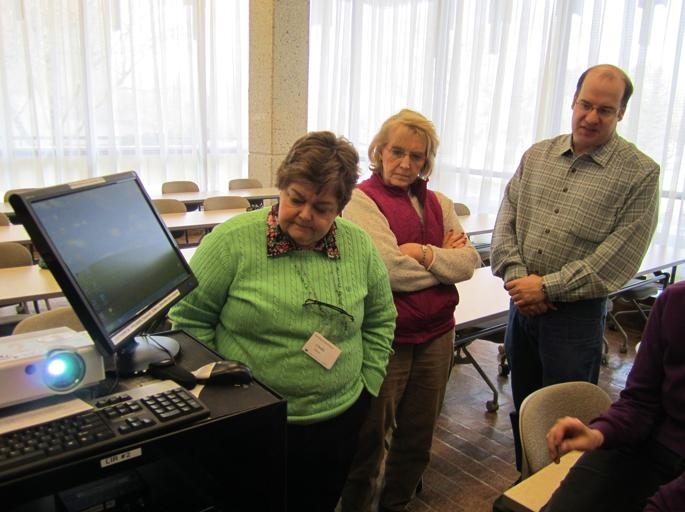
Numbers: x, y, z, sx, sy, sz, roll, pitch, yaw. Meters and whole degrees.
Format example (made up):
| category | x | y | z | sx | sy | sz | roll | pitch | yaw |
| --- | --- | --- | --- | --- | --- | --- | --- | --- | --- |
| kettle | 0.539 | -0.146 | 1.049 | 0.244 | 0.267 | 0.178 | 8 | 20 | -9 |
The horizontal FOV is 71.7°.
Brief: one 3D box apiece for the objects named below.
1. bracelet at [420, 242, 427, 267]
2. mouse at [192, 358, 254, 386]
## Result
| category | x | y | z | sx | sy | sz | roll | pitch | yaw |
| --- | --- | --- | --- | --- | --- | --- | --- | --- | --- |
| bracelet | 0.318 | -0.005 | 1.855 | 0.021 | 0.072 | 0.043 | -1 | 18 | 9 |
| mouse | -0.298 | 0.281 | 1.166 | 0.120 | 0.038 | 0.063 | -1 | 0 | 0 |
